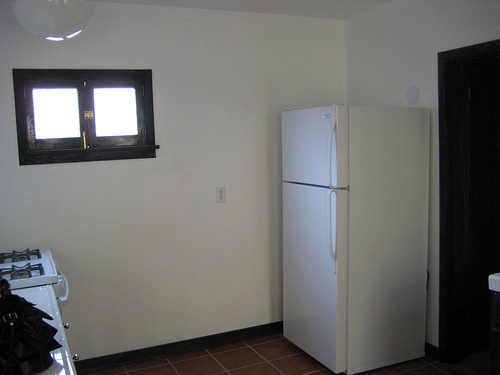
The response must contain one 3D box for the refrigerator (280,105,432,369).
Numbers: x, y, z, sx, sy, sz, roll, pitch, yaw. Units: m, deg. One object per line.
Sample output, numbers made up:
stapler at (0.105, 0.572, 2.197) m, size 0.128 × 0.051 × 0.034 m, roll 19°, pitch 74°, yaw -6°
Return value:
refrigerator at (0.833, 0.411, 3.440) m, size 1.255 × 2.144 × 0.718 m, roll 1°, pitch 8°, yaw 24°
